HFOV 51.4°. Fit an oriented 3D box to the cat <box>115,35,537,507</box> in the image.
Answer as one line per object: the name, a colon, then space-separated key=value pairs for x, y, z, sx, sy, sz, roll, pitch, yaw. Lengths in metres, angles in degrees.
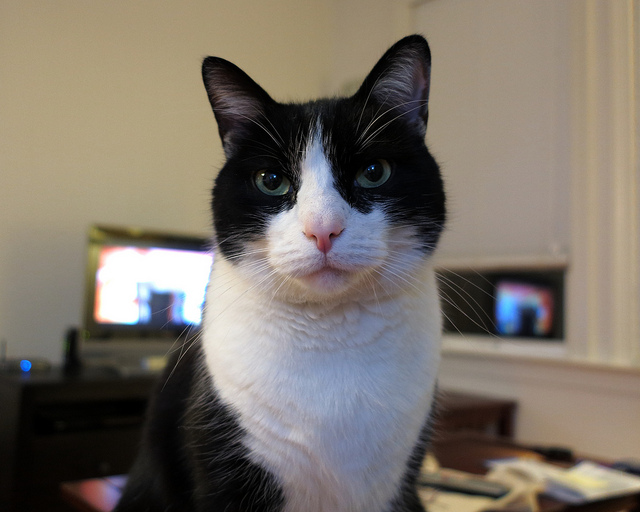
cat: x=0.005 y=0.129 z=1.221 sx=0.434 sy=0.814 sz=0.850 roll=1 pitch=-21 yaw=-12

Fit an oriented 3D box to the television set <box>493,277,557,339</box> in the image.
television set: x=0.328 y=0.095 z=1.074 sx=0.099 sy=0.107 sz=0.069 roll=2 pitch=-21 yaw=13
